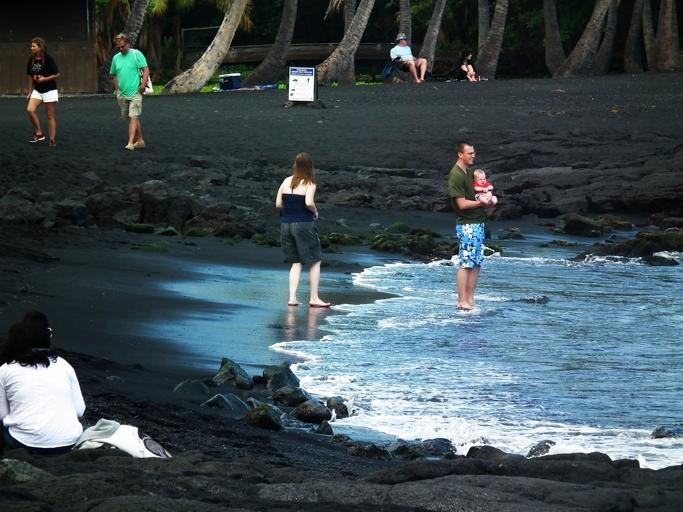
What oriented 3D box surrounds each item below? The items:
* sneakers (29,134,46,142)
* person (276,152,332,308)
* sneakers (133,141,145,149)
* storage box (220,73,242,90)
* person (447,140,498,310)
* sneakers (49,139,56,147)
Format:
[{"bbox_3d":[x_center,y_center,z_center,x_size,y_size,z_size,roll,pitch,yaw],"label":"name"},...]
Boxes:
[{"bbox_3d":[-6.725,-2.543,23.307,0.456,0.145,0.149,3,24,7],"label":"sneakers"},{"bbox_3d":[-0.549,-0.376,14.499,0.665,2.026,1.173,-1,9,-3],"label":"person"},{"bbox_3d":[-4.363,-2.348,22.940,0.212,0.139,0.400,-8,13,-27],"label":"sneakers"},{"bbox_3d":[-3.763,-5.768,35.412,0.617,0.586,0.960,5,10,17],"label":"storage box"},{"bbox_3d":[1.726,-0.398,14.403,0.572,2.205,0.586,-2,9,-11],"label":"person"},{"bbox_3d":[-6.260,-2.424,23.080,0.120,0.111,0.297,-2,5,-15],"label":"sneakers"}]
